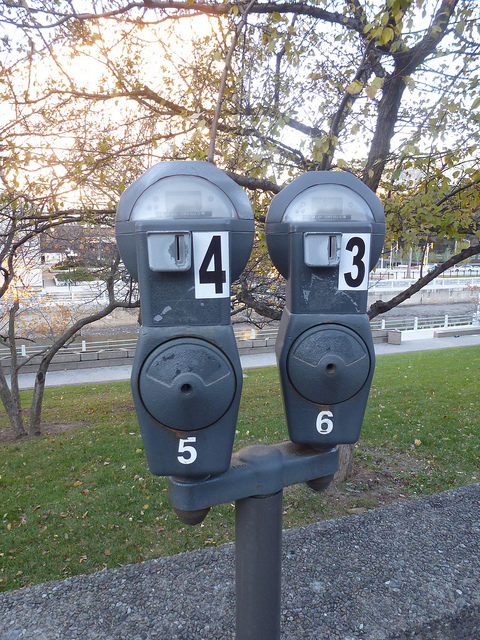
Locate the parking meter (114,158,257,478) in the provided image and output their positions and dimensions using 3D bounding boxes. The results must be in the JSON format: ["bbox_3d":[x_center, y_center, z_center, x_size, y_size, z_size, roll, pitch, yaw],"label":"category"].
[{"bbox_3d":[-0.141,0.004,1.404,0.410,0.951,0.210,-3,5,-19],"label":"parking meter"}]

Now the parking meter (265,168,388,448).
[{"bbox_3d":[0.294,-0.028,1.563,0.400,0.929,0.207,-1,4,6],"label":"parking meter"}]
